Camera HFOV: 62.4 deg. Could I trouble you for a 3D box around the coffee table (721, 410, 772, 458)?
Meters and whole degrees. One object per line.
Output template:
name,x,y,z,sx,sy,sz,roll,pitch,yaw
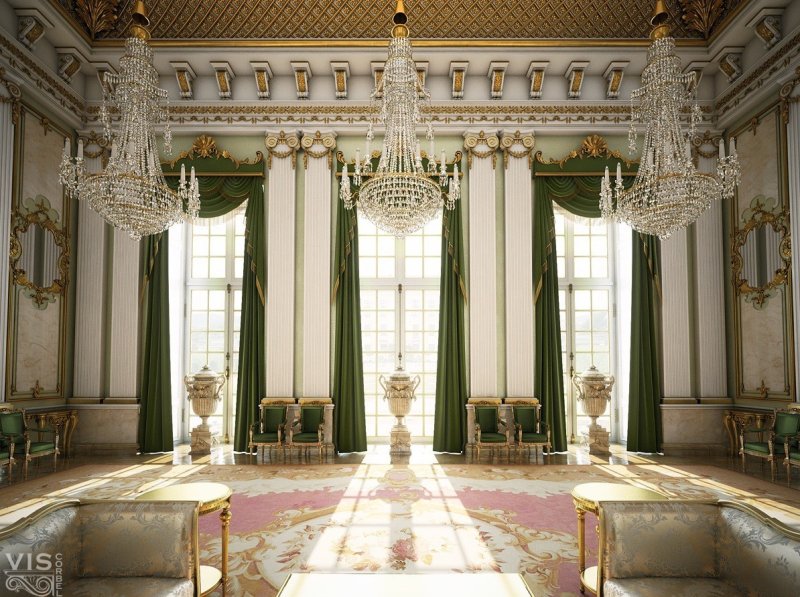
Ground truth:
coffee table,5.183,2.002,9.811,0.385,0.606,0.582,14,-13,-42

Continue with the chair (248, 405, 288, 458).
chair,-1.899,2.036,10.160,0.668,1.051,0.665,-1,-8,6

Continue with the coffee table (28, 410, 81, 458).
coffee table,-5.111,1.986,9.650,0.325,0.727,0.750,-1,-4,6

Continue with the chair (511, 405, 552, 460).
chair,1.938,1.959,9.923,0.495,0.936,0.536,1,-5,-12

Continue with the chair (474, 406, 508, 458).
chair,1.363,2.004,9.877,0.499,0.862,0.539,0,-7,0

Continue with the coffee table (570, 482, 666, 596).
coffee table,1.993,2.279,6.284,0.971,0.899,0.892,3,-4,-37
